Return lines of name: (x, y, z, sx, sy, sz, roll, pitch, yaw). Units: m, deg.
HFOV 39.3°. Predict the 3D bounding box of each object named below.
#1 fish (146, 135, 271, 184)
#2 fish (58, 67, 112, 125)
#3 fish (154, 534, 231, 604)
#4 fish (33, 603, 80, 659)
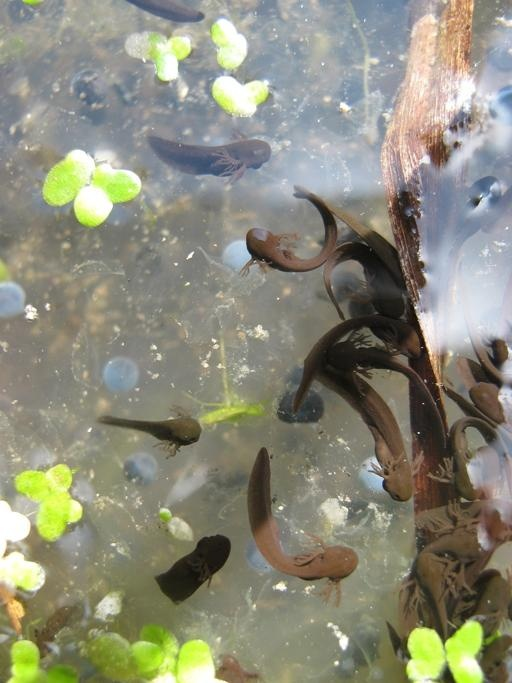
fish: (-0.265, -0.985, 3.850, 0.477, 0.158, 0.234, -5, 60, 1)
fish: (-0.917, -1.363, 3.993, 0.242, 0.063, 0.292, -15, 89, 10)
fish: (-0.291, 1.133, 3.671, 0.408, 0.146, 0.230, -40, 86, 4)
fish: (-1.024, 1.479, 3.718, 0.264, 0.181, 0.116, -23, 42, -26)
